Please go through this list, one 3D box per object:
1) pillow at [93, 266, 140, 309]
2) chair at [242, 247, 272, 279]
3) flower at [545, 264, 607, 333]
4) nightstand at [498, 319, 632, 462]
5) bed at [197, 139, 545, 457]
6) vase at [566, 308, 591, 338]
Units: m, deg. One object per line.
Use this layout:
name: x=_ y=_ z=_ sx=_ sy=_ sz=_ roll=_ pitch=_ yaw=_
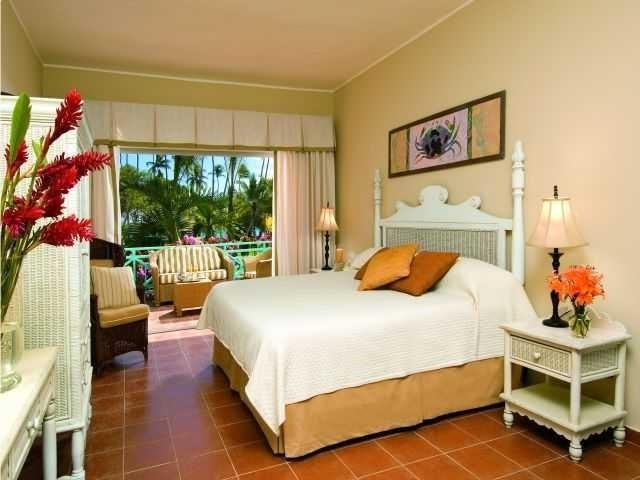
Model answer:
pillow: x=-1.966 y=0.467 z=4.435 sx=0.126 sy=0.339 sz=0.346 roll=-10 pitch=-7 yaw=38
chair: x=-0.937 y=0.381 z=7.283 sx=0.425 sy=0.651 sz=0.577 roll=2 pitch=-2 yaw=-33
flower: x=1.732 y=0.363 z=3.271 sx=0.408 sy=0.546 sz=0.414 roll=-2 pitch=4 yaw=-6
nightstand: x=1.662 y=0.904 z=3.598 sx=0.706 sy=1.278 sz=0.981 roll=1 pitch=-2 yaw=-20
bed: x=0.304 y=0.243 z=4.032 sx=2.429 sy=2.038 sz=2.387 roll=-4 pitch=9 yaw=-26
vase: x=1.731 y=0.541 z=3.081 sx=0.111 sy=0.202 sz=0.070 roll=4 pitch=9 yaw=27
